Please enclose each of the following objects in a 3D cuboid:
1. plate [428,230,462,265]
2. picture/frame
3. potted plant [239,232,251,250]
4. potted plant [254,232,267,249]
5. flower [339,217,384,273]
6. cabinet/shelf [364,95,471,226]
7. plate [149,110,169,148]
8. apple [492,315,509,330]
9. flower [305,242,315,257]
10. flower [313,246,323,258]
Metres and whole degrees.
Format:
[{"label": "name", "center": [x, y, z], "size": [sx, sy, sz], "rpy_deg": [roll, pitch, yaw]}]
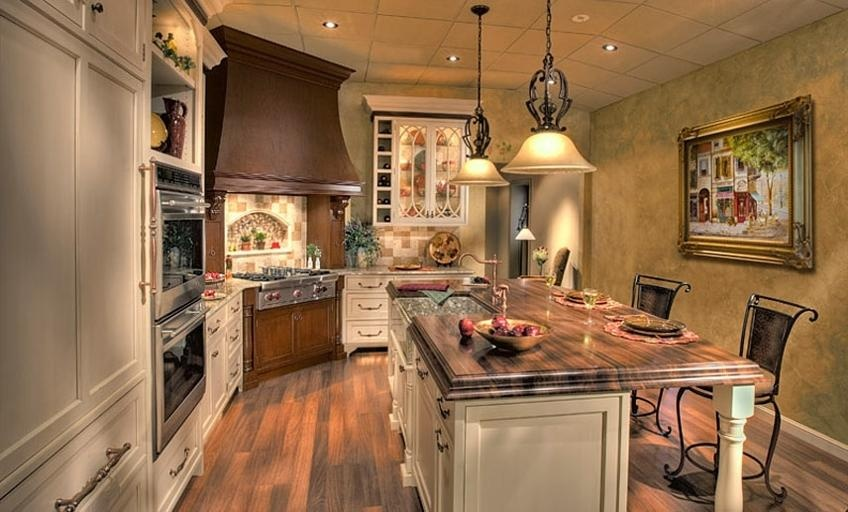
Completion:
[{"label": "plate", "center": [0.272, -0.082, 7.585], "size": [0.490, 0.461, 0.322], "rpy_deg": [-1, 14, -7]}, {"label": "picture/frame", "center": [3.133, -0.713, 5.426], "size": [0.223, 1.591, 1.508], "rpy_deg": [-5, 15, -22]}, {"label": "potted plant", "center": [-2.041, -0.167, 6.353], "size": [0.185, 0.249, 0.180], "rpy_deg": [0, -1, -12]}, {"label": "potted plant", "center": [-1.915, -0.173, 6.520], "size": [0.100, 0.210, 0.166], "rpy_deg": [4, 14, 11]}, {"label": "flower", "center": [-0.843, -0.093, 7.307], "size": [0.727, 0.746, 0.542], "rpy_deg": [1, -2, -17]}, {"label": "cabinet/shelf", "center": [-0.094, -1.214, 7.040], "size": [1.752, 1.975, 0.533], "rpy_deg": [0, 0, -12]}, {"label": "plate", "center": [-1.920, -0.891, 4.027], "size": [0.130, 0.245, 0.112], "rpy_deg": [-8, 16, -31]}, {"label": "apple", "center": [0.503, 0.444, 3.686], "size": [0.095, 0.074, 0.099], "rpy_deg": [1, 2, -1]}, {"label": "flower", "center": [-1.391, -0.059, 6.881], "size": [0.141, 0.139, 0.140], "rpy_deg": [0, 1, 10]}, {"label": "flower", "center": [-1.294, -0.042, 6.812], "size": [0.021, 0.095, 0.104], "rpy_deg": [-2, -5, 29]}]
